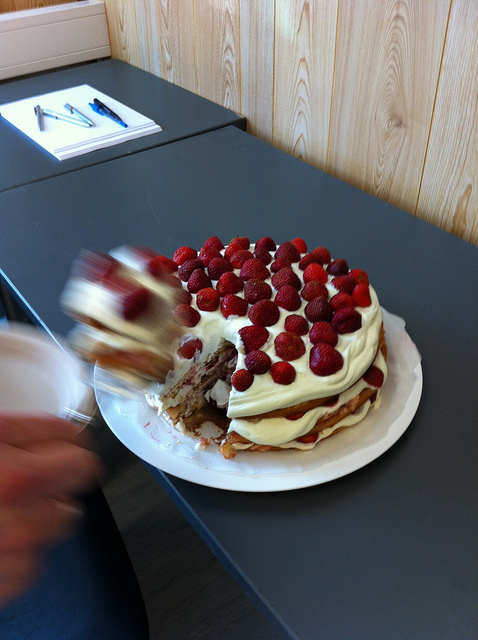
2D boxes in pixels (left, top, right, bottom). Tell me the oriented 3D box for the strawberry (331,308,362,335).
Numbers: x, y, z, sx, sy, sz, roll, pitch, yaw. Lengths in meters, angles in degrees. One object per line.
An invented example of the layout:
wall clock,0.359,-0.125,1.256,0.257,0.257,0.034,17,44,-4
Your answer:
strawberry,0.144,0.002,0.674,0.036,0.019,0.035,-1,57,8

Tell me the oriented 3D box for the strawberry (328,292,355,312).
strawberry,0.144,-0.025,0.702,0.028,0.014,0.028,24,56,23

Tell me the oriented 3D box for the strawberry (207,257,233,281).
strawberry,-0.035,-0.081,0.792,0.038,0.021,0.030,13,49,33

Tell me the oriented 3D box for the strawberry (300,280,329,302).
strawberry,0.106,-0.041,0.713,0.031,0.017,0.030,-18,45,-15

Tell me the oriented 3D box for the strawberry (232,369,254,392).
strawberry,0.005,0.076,0.636,0.016,0.028,0.023,34,70,-4

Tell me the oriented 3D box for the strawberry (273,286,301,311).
strawberry,0.068,-0.029,0.699,0.034,0.018,0.033,-2,44,8

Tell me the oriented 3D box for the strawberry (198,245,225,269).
strawberry,-0.042,-0.097,0.789,0.029,0.021,0.037,11,14,41

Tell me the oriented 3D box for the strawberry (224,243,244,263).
strawberry,-0.005,-0.106,0.826,0.016,0.028,0.024,37,31,-18

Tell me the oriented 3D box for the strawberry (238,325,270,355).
strawberry,0.021,0.025,0.674,0.037,0.034,0.030,-26,47,-24

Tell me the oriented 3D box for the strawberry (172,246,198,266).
strawberry,-0.089,-0.108,0.795,0.036,0.019,0.033,-14,44,1

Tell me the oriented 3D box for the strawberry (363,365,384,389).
strawberry,0.183,0.077,0.677,0.025,0.008,0.024,-10,46,-9

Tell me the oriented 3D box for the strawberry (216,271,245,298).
strawberry,-0.012,-0.055,0.769,0.021,0.036,0.035,23,78,51

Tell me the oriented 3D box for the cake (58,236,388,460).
cake,0.011,0.026,0.663,0.368,0.120,0.340,25,43,23

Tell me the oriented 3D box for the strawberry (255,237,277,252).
strawberry,0.045,-0.122,0.815,0.025,0.016,0.028,-7,32,2

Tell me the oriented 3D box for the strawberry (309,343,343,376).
strawberry,0.108,0.051,0.635,0.040,0.021,0.038,5,72,-5

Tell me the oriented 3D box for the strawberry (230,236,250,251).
strawberry,0.006,-0.130,0.832,0.025,0.009,0.032,24,29,10

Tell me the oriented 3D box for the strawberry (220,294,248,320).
strawberry,-0.006,-0.021,0.708,0.034,0.032,0.018,26,10,-5

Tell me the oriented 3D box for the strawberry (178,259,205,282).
strawberry,-0.074,-0.076,0.750,0.036,0.029,0.020,-40,62,17

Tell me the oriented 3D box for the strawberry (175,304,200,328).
strawberry,-0.070,-0.004,0.697,0.018,0.033,0.025,-3,48,45

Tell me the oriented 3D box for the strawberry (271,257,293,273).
strawberry,0.066,-0.082,0.785,0.026,0.014,0.021,-19,5,41

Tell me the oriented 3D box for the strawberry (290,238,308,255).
strawberry,0.095,-0.120,0.850,0.029,0.017,0.024,27,29,9

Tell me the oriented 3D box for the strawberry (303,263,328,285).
strawberry,0.111,-0.067,0.741,0.031,0.030,0.017,-12,-5,30

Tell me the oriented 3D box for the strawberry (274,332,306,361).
strawberry,0.066,0.033,0.656,0.039,0.027,0.033,-25,47,-24

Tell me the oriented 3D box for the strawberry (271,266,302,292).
strawberry,0.069,-0.059,0.730,0.036,0.023,0.035,30,30,4

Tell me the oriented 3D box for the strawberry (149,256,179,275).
strawberry,-0.104,-0.073,0.694,0.035,0.009,0.034,37,42,25

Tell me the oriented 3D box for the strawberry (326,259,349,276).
strawberry,0.147,-0.077,0.756,0.027,0.016,0.026,32,53,9

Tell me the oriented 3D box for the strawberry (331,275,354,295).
strawberry,0.151,-0.054,0.731,0.024,0.016,0.029,-18,36,-7

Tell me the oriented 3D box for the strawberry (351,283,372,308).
strawberry,0.176,-0.034,0.719,0.020,0.032,0.025,3,35,31

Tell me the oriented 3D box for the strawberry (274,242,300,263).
strawberry,0.079,-0.102,0.801,0.034,0.019,0.027,-22,57,4

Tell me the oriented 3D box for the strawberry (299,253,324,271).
strawberry,0.109,-0.090,0.775,0.030,0.017,0.024,-22,-8,37
